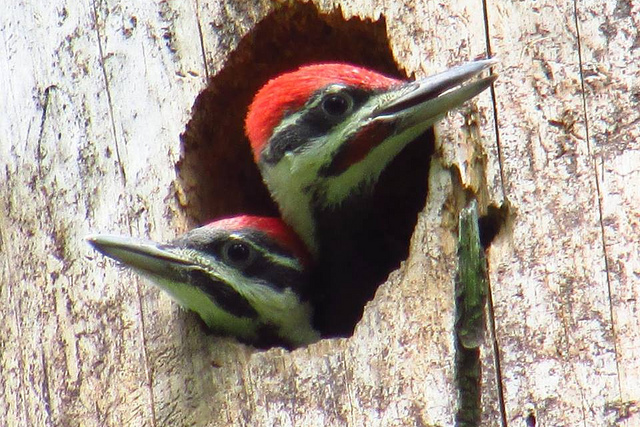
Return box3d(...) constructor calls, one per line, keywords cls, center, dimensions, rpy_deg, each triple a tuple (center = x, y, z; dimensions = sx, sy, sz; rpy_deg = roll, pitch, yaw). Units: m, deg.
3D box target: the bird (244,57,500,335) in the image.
box3d(cls="bird", center=(0.166, -0.059, 6.480), dimensions=(0.991, 1.080, 0.452), rpy_deg=(5, 7, 33))
